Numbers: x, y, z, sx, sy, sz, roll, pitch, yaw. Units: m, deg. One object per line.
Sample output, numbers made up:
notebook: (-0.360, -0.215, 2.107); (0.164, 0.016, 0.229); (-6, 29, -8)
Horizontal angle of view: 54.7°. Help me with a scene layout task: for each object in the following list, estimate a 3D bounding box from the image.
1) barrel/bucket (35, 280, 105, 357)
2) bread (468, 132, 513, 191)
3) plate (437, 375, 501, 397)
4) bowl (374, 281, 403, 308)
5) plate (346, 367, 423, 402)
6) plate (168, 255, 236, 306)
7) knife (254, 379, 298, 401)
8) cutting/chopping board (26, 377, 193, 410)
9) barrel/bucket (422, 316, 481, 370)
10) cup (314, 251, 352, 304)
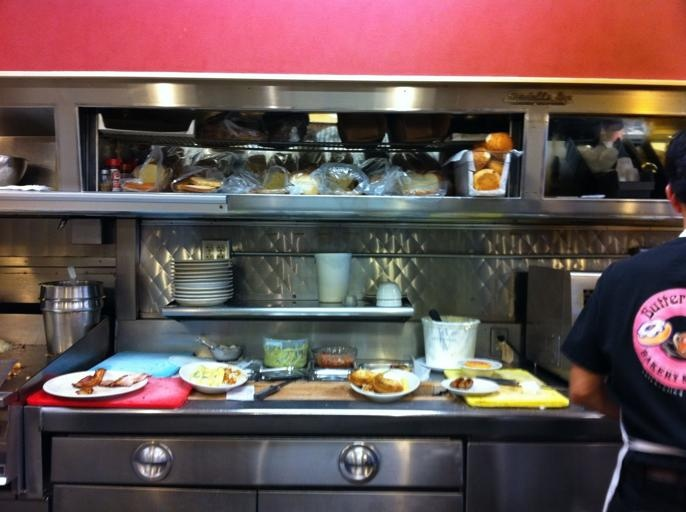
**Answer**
barrel/bucket: (-1.282, 0.295, 3.378); (0.401, 0.448, 0.319); (0, -1, -13)
bread: (0.697, -0.432, 3.127); (0.179, 0.275, 0.112); (7, -1, -2)
plate: (0.591, 0.574, 2.986); (0.256, 0.064, 0.179); (-6, 7, -26)
bowl: (0.235, 0.191, 3.302); (0.125, 0.105, 0.120); (0, -3, 0)
plate: (0.206, 0.565, 3.002); (0.311, 0.107, 0.245); (-8, 8, -36)
plate: (-0.693, 0.113, 3.259); (0.254, 0.142, 0.244); (0, 1, -16)
knife: (-0.299, 0.604, 3.019); (0.044, 0.042, 0.311); (3, 3, 26)
cutting/chopping board: (-1.023, 0.605, 2.956); (0.684, 0.088, 0.271); (-3, 7, -2)
barrel/bucket: (0.531, 0.411, 3.224); (0.258, 0.218, 0.263); (0, -4, 0)
cup: (-0.061, 0.113, 3.274); (0.242, 0.250, 0.234); (0, -2, 0)
